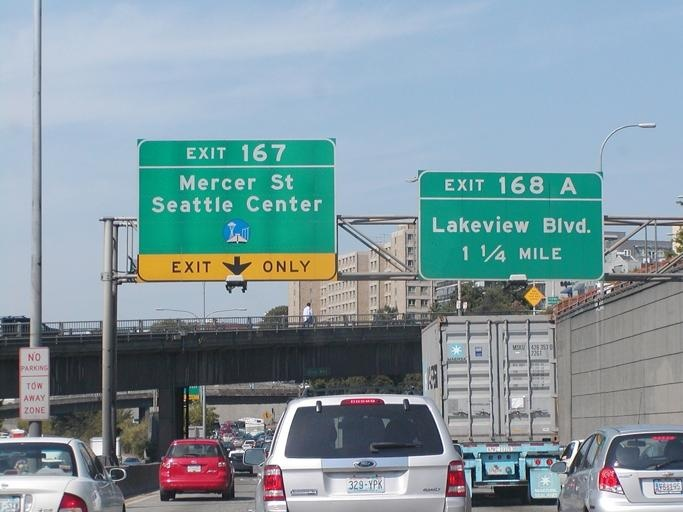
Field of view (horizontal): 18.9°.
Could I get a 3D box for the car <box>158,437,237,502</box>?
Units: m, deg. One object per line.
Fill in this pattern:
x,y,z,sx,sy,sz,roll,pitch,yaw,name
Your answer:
-5.194,7.485,72.968,2.574,2.136,1.001,-1,-7,-7,car
